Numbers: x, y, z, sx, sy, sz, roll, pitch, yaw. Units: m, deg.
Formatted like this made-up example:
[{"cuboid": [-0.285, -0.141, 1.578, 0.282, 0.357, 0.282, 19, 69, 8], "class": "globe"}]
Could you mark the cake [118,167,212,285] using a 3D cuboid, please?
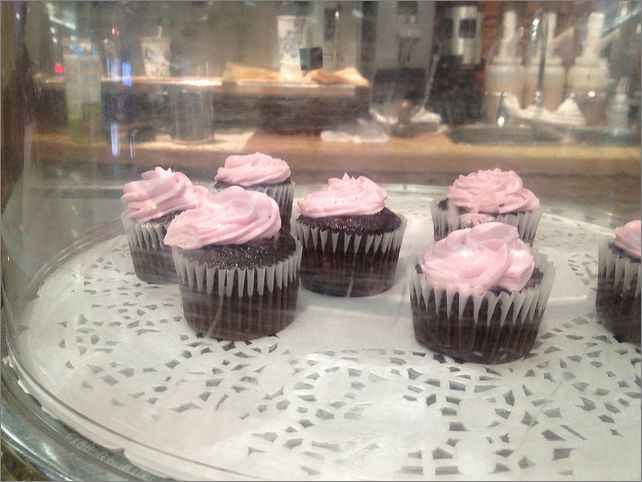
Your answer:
[{"cuboid": [-0.436, -0.044, 1.496, 0.294, 0.300, 0.249, 2, 5, 11], "class": "cake"}]

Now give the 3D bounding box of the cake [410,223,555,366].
[{"cuboid": [0.412, 0.104, 1.421, 0.350, 0.314, 0.358, -14, 25, -32], "class": "cake"}]

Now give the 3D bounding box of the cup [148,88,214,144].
[{"cuboid": [-0.343, -0.316, 1.376, 0.127, 0.130, 0.126, 2, 20, -1], "class": "cup"}]

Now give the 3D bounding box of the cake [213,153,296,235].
[{"cuboid": [-0.207, -0.147, 1.820, 0.250, 0.247, 0.247, 1, -4, 2], "class": "cake"}]

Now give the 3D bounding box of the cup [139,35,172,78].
[{"cuboid": [-0.392, -0.438, 1.294, 0.083, 0.082, 0.079, 2, 15, -1], "class": "cup"}]

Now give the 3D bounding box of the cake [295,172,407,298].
[{"cuboid": [0.087, -0.018, 1.740, 0.350, 0.339, 0.351, -3, 6, 0], "class": "cake"}]

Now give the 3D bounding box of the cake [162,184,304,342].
[{"cuboid": [-0.191, 0.040, 1.456, 0.351, 0.337, 0.388, 0, 9, -1], "class": "cake"}]
